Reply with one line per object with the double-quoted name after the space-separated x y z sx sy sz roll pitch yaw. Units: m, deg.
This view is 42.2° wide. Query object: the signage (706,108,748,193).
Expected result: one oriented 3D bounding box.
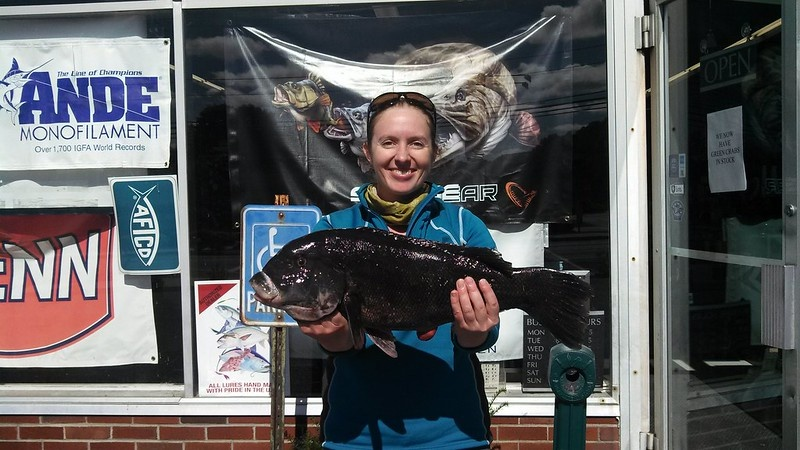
3.513 -0.787 11.122 0.453 0.875 0.068 -7 -7 44 "signage"
